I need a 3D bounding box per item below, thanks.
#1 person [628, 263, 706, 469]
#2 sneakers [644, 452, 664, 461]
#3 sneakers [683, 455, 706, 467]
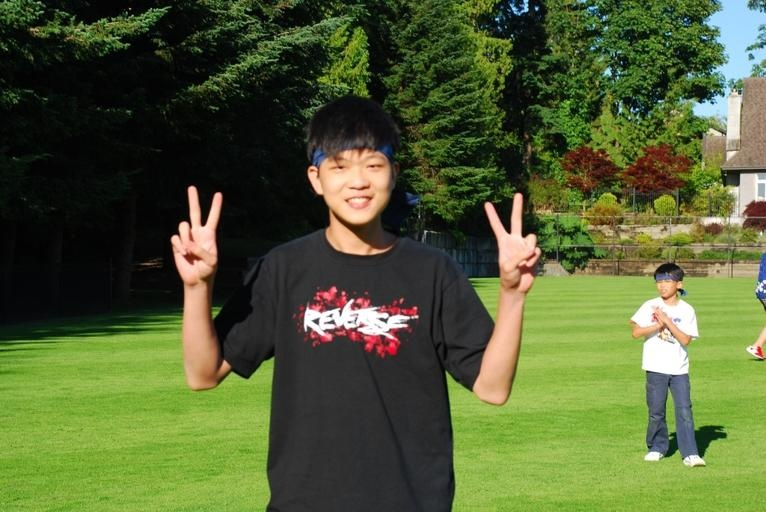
[{"bbox_3d":[3.682,1.389,10.477,0.848,2.552,0.794,0,3,41],"label":"person"},{"bbox_3d":[3.436,2.571,10.348,0.115,0.091,0.222,-4,-14,26],"label":"sneakers"},{"bbox_3d":[3.926,2.595,10.234,0.113,0.121,0.270,0,-8,-11],"label":"sneakers"}]
